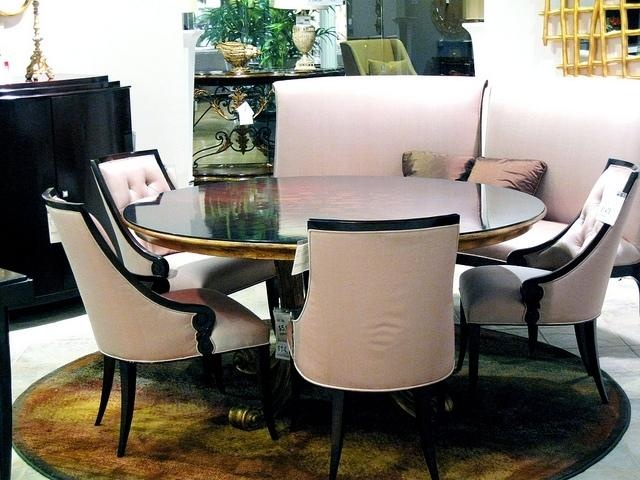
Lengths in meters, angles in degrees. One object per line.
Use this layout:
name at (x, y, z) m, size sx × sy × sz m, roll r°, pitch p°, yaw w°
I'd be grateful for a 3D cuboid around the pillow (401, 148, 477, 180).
pillow at (0.736, -0.474, 3.459) m, size 0.411 × 0.108 × 0.242 m, roll 9°, pitch 23°, yaw 24°

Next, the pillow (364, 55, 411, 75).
pillow at (0.623, -1.544, 4.839) m, size 0.405 × 0.147 × 0.086 m, roll -1°, pitch 17°, yaw 9°

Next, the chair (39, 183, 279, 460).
chair at (-0.605, 0.173, 2.496) m, size 1.061 × 1.249 × 0.850 m, roll -7°, pitch 15°, yaw -23°
